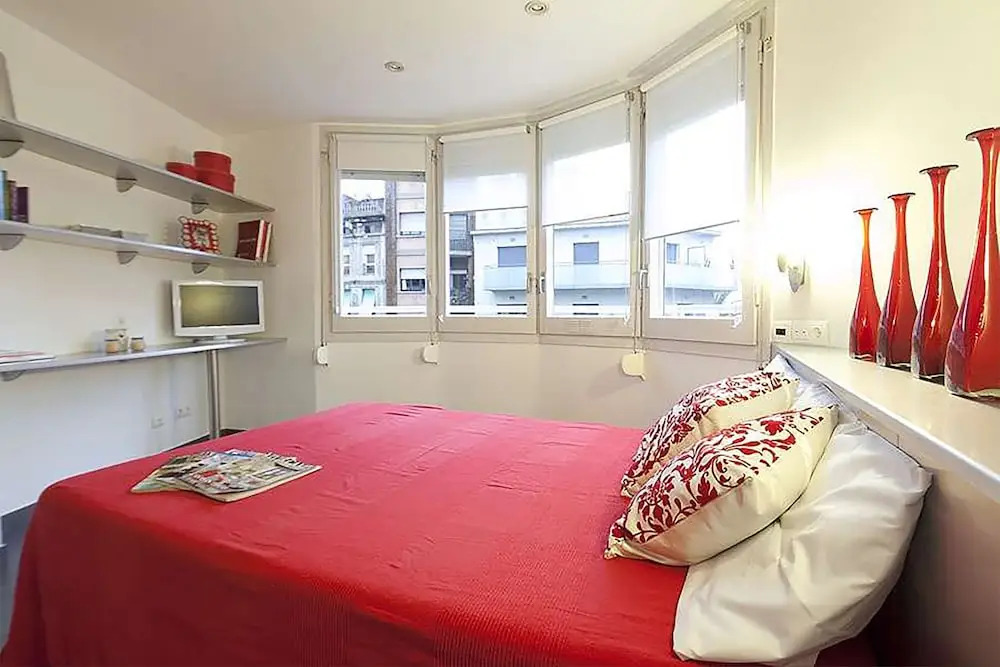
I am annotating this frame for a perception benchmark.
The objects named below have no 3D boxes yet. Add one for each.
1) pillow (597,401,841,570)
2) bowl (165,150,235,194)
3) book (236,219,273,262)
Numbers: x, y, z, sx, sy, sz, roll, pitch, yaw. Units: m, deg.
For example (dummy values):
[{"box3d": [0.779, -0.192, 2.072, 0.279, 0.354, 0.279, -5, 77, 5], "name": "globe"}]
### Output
[{"box3d": [0.626, 0.263, 1.875, 0.428, 0.312, 0.852, 2, 15, 44], "name": "pillow"}, {"box3d": [-2.133, -1.152, 4.346, 0.236, 0.266, 0.378, 6, 7, 31], "name": "bowl"}, {"box3d": [-1.882, -0.740, 4.771, 0.311, 0.323, 0.076, -5, -12, 31], "name": "book"}]
